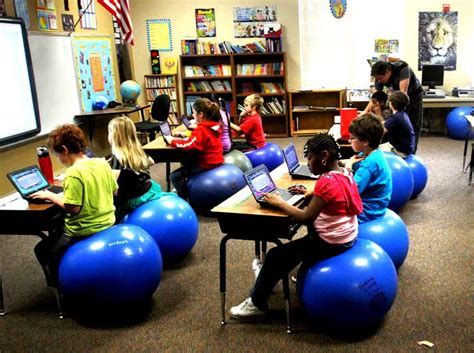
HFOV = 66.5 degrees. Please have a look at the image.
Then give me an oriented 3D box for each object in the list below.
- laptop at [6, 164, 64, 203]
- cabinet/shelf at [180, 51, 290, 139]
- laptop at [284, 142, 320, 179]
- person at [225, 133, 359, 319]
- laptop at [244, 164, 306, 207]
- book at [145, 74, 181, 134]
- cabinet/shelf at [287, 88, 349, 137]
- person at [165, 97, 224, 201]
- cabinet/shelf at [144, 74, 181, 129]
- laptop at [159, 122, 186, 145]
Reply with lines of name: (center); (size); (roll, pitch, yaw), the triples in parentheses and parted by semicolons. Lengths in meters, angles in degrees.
laptop: (-1.583, 0.055, 2.833); (0.280, 0.206, 0.333); (10, 21, 17)
cabinet/shelf: (0.030, -1.780, 7.442); (2.241, 1.993, 0.602); (-1, 8, 4)
laptop: (0.570, -0.099, 3.247); (0.264, 0.222, 0.355); (5, 17, 12)
person: (0.418, 0.394, 2.452); (0.817, 1.315, 0.335); (-5, 19, -2)
laptop: (0.242, 0.056, 2.611); (0.350, 0.271, 0.441); (10, 18, 17)
book: (-1.799, -1.728, 8.624); (0.729, 1.256, 0.562); (5, 17, 2)
cabinet/shelf: (1.862, -1.504, 8.412); (1.299, 1.022, 0.501); (-1, 19, 10)
person: (-0.504, -0.319, 4.559); (0.686, 1.253, 0.468); (-6, 19, -5)
cabinet/shelf: (-1.761, -1.879, 8.934); (0.797, 1.186, 0.580); (5, 18, 2)
laptop: (-0.864, -0.581, 4.754); (0.305, 0.295, 0.392); (0, 14, 10)
